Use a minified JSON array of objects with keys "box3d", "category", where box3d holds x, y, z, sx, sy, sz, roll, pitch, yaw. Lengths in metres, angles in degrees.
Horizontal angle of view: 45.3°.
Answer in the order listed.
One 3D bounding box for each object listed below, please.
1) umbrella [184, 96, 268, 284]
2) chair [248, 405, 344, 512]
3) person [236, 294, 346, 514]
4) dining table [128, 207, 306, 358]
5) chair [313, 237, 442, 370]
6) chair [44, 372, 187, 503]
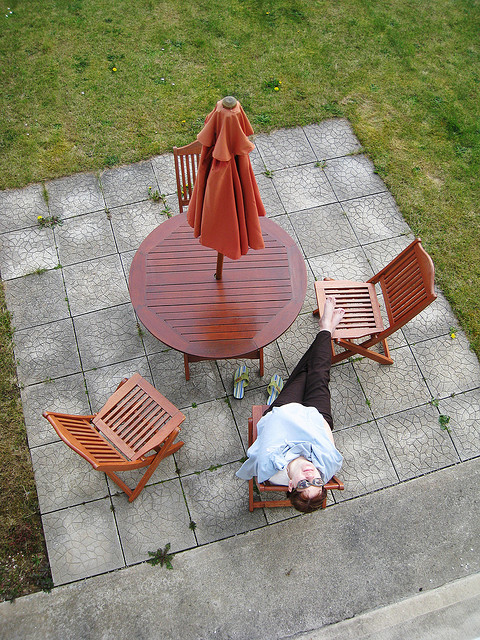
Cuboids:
[{"box3d":[-0.072,-0.873,3.736,0.540,1.161,0.354,-1,55,-5],"category":"umbrella"},{"box3d":[0.503,1.050,4.094,0.637,0.907,0.819,2,86,-2],"category":"chair"},{"box3d":[0.471,0.453,3.824,0.581,0.575,1.432,22,79,6],"category":"person"},{"box3d":[-0.129,-0.222,4.403,1.262,0.349,1.202,-17,67,-13],"category":"dining table"},{"box3d":[1.029,-0.141,4.666,0.726,1.076,0.567,1,55,-4],"category":"chair"},{"box3d":[-0.874,0.821,4.219,0.704,0.780,0.943,28,49,13],"category":"chair"}]
